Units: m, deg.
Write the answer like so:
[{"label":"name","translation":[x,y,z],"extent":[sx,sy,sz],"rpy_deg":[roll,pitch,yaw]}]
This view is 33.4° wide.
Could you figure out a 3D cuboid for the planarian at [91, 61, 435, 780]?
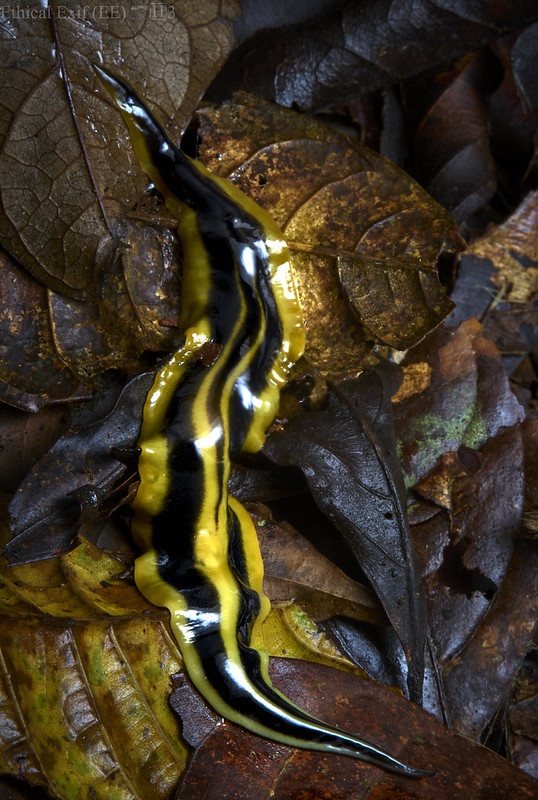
[{"label":"planarian","translation":[-0.041,0.085,2.508],"extent":[0.674,0.225,1.985],"rpy_deg":[1,89,-9]}]
